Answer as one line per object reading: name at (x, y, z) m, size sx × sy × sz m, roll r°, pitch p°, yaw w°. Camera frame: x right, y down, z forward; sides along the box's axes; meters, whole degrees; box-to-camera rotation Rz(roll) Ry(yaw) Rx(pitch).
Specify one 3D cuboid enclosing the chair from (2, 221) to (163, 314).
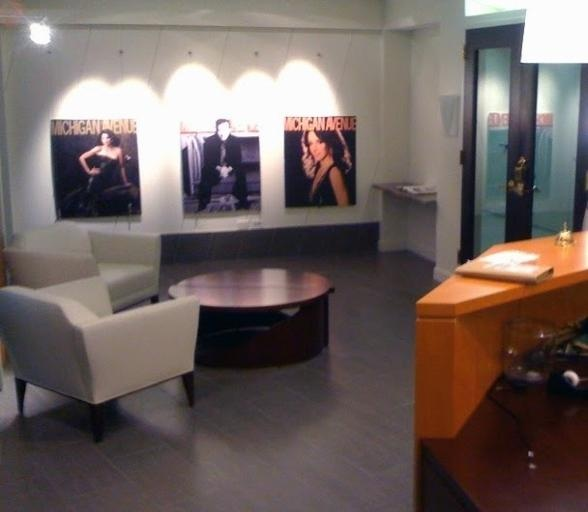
chair at (-2.066, 0.030, 5.036) m, size 0.904 × 1.005 × 1.284 m, roll 6°, pitch 11°, yaw 26°

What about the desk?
desk at (-0.308, 0.551, 4.383) m, size 0.897 × 0.382 × 0.978 m, roll 0°, pitch 11°, yaw 7°

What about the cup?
cup at (0.891, 0.353, 1.874) m, size 0.235 × 0.219 × 0.128 m, roll -4°, pitch 13°, yaw -15°
